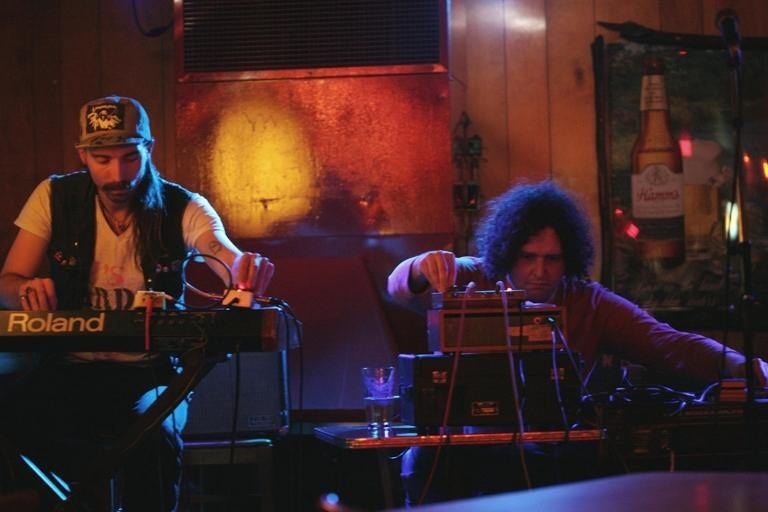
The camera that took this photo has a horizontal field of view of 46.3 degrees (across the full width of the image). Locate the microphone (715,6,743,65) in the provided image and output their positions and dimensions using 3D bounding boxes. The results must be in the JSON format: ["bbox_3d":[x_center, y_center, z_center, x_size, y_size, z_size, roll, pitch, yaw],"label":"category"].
[{"bbox_3d":[1.557,-0.988,4.057,0.095,0.266,0.219,-2,-1,21],"label":"microphone"}]

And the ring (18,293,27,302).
[{"bbox_3d":[-1.452,0.169,3.619,0.032,0.030,0.032,1,-7,0],"label":"ring"}]

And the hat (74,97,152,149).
[{"bbox_3d":[-1.187,-0.575,3.907,0.216,0.158,0.284,1,2,7],"label":"hat"}]

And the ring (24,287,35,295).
[{"bbox_3d":[-1.414,0.142,3.585,0.040,0.022,0.031,-25,-27,34],"label":"ring"}]

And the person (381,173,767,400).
[{"bbox_3d":[0.922,0.119,4.416,1.693,0.955,0.881,-2,-1,-8],"label":"person"}]

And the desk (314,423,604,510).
[{"bbox_3d":[0.303,0.822,3.867,1.186,0.261,0.535,-2,0,0],"label":"desk"}]

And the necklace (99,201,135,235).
[{"bbox_3d":[-1.192,-0.164,4.033,0.123,0.163,0.040,-10,-6,-14],"label":"necklace"}]
